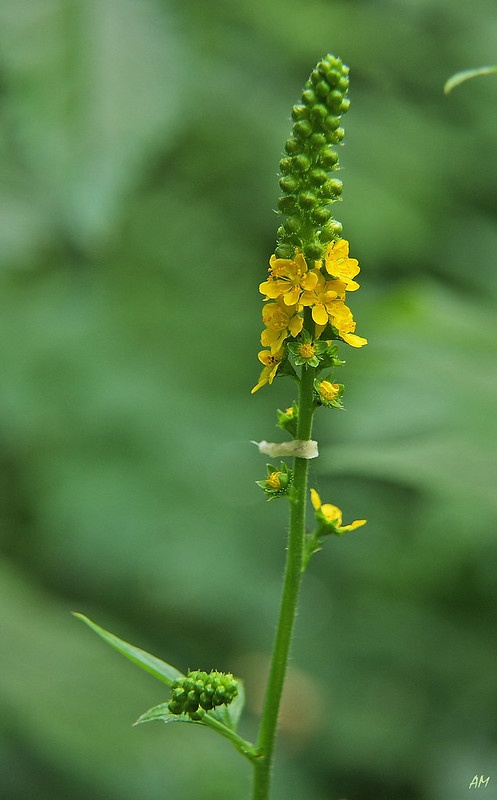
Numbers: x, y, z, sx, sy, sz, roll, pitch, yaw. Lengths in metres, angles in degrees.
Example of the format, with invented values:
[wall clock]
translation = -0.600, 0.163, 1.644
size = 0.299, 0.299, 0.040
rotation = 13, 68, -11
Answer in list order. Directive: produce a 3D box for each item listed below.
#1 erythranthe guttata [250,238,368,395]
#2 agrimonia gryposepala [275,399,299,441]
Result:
[erythranthe guttata]
translation = 0.138, -0.264, 2.249
size = 0.263, 0.218, 0.476
rotation = -11, -71, -29
[agrimonia gryposepala]
translation = 0.100, 0.043, 2.304
size = 0.090, 0.088, 0.089
rotation = -4, -94, -5
